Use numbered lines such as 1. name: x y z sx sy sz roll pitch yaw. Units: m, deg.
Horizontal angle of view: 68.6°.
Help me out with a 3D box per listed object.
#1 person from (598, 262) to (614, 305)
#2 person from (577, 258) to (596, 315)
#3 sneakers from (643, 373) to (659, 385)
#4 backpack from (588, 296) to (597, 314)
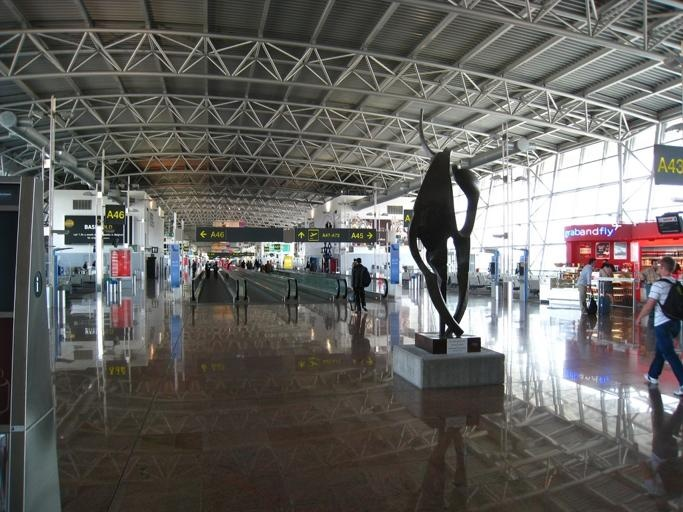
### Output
1. person: 8.895 0.955 16.825 0.357 1.568 3.055 1 1 28
2. person: 7.727 0.921 15.848 0.387 1.685 0.883 0 1 26
3. sneakers: 4.563 1.820 7.444 0.101 0.141 0.292 -3 9 -6
4. backpack: 7.812 1.533 15.594 0.243 0.513 0.493 1 1 35
